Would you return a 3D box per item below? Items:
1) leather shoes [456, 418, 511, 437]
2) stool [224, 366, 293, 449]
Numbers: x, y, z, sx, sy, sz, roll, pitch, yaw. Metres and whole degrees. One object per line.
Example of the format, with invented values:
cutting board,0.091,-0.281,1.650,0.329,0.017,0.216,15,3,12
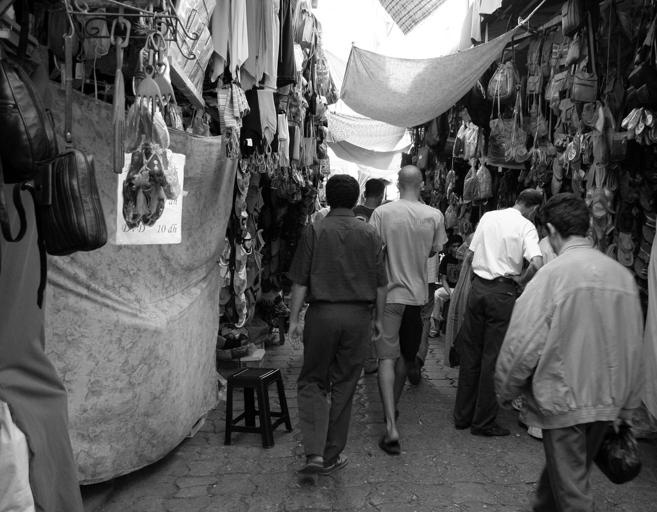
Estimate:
leather shoes,1.398,1.561,5.354,0.466,0.239,0.180,-1,-3,3
stool,-0.671,1.274,5.174,0.522,0.739,0.587,-2,2,13
